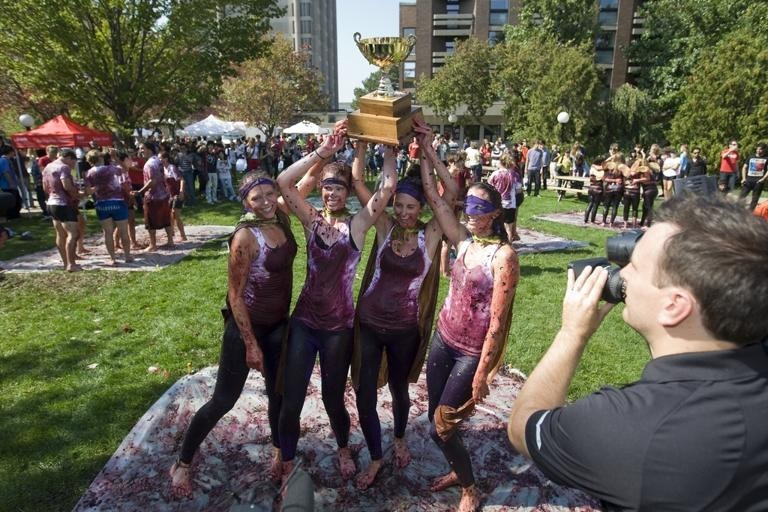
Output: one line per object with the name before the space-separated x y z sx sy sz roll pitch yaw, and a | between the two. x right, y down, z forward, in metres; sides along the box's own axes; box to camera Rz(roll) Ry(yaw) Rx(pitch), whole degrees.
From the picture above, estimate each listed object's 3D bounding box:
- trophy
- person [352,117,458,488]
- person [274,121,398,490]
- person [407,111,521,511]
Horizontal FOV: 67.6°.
trophy | 0.009 -1.684 5.640 0.867 0.977 0.878 -20 29 -36
person | 0.143 0.410 6.116 1.274 3.309 1.194 0 -2 0
person | -0.545 0.432 5.609 1.026 3.521 0.655 3 4 -10
person | 0.745 0.719 5.654 1.029 2.890 1.021 0 0 -3
